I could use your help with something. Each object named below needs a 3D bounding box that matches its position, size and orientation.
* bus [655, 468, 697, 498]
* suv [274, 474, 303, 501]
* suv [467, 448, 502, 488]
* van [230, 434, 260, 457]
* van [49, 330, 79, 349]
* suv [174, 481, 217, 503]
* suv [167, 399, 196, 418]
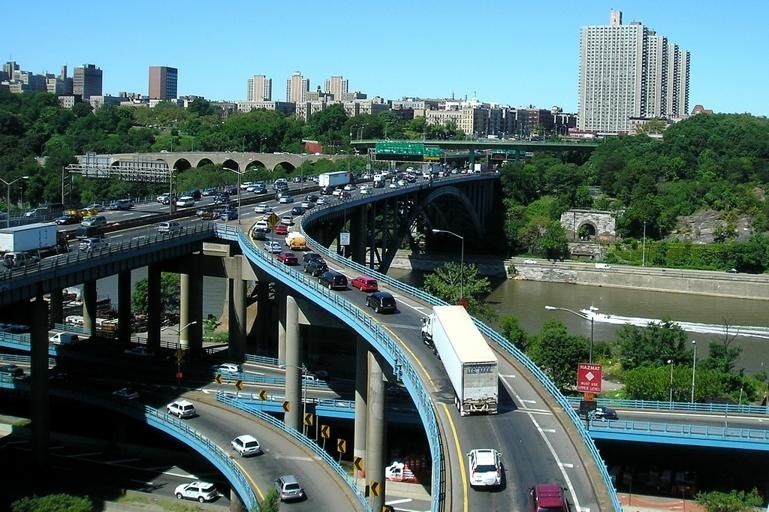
[{"bbox_3d":[26.855,20.883,95.462,2.318,2.343,2.429,1,3,5],"label":"bus"},{"bbox_3d":[-8.174,19.900,88.891,1.390,1.239,2.458,-1,22,-14],"label":"suv"},{"bbox_3d":[7.654,16.297,79.524,1.897,1.529,2.968,1,25,5],"label":"suv"},{"bbox_3d":[-12.782,17.134,94.688,1.456,1.153,2.419,-7,25,-33],"label":"van"},{"bbox_3d":[-35.368,9.045,114.404,2.925,1.259,2.674,2,6,-1],"label":"van"},{"bbox_3d":[-17.425,21.517,96.063,3.434,1.384,1.775,9,5,11],"label":"suv"},{"bbox_3d":[-19.631,14.637,100.291,2.471,1.458,1.806,6,7,38],"label":"suv"}]
